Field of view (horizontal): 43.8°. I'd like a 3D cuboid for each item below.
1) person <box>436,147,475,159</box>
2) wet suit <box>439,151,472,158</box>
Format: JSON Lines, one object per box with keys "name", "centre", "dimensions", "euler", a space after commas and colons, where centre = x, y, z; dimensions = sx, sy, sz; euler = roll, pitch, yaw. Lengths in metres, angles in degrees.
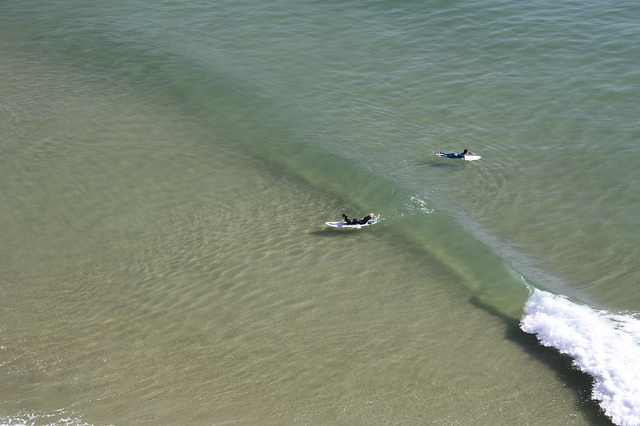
{"name": "person", "centre": [9.751, -4.240, 57.649], "dimensions": [2.289, 0.406, 0.965], "euler": [1, 23, 6]}
{"name": "wet suit", "centre": [9.525, -4.166, 57.606], "dimensions": [1.530, 0.273, 0.763], "euler": [2, 11, 8]}
